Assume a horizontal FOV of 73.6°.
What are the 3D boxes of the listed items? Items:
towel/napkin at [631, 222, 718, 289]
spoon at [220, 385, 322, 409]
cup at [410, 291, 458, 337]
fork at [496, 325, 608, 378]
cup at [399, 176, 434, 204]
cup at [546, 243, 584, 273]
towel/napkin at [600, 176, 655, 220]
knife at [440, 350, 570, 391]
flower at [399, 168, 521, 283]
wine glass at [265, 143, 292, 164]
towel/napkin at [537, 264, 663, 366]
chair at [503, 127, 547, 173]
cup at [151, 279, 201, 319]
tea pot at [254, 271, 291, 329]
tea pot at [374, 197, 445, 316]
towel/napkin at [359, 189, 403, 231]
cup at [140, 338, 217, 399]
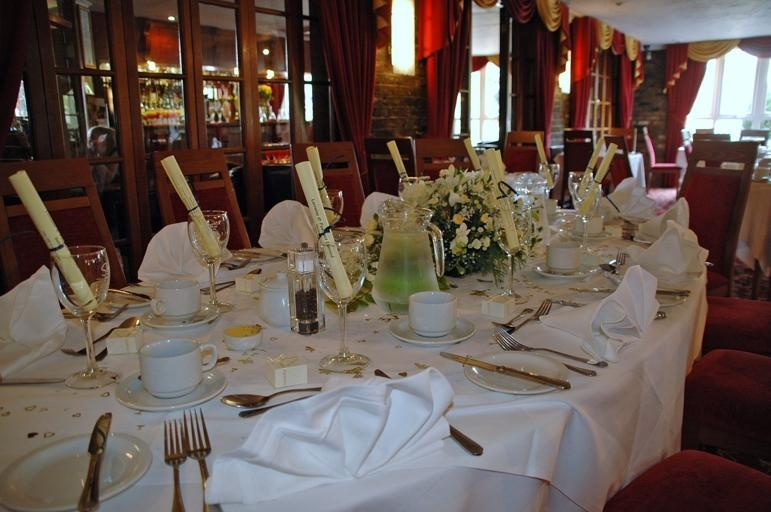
[{"bbox_3d":[0.921,-0.008,1.662,0.186,0.122,0.249,0,15,24],"label":"towel/napkin"},{"bbox_3d":[-0.230,0.282,1.030,0.154,0.022,0.028,-11,24,-25],"label":"spoon"},{"bbox_3d":[0.116,0.144,1.298,0.087,0.081,0.120,-1,4,6],"label":"cup"},{"bbox_3d":[0.349,0.215,1.214,0.302,0.048,0.082,20,15,26],"label":"fork"},{"bbox_3d":[0.100,-0.207,1.720,0.120,0.062,0.125,1,24,0],"label":"cup"},{"bbox_3d":[0.577,0.005,1.686,0.092,0.084,0.094,1,3,0],"label":"cup"},{"bbox_3d":[1.136,-0.246,2.440,0.207,0.090,0.221,-43,52,-8],"label":"towel/napkin"},{"bbox_3d":[0.253,0.247,1.103,0.179,0.015,0.026,13,29,31],"label":"knife"},{"bbox_3d":[0.223,-0.109,1.740,0.336,0.346,0.339,10,56,-6],"label":"flower"},{"bbox_3d":[-0.826,-0.785,4.025,0.131,0.156,0.277,6,17,25],"label":"wine glass"},{"bbox_3d":[0.544,0.124,1.249,0.191,0.094,0.235,-13,5,14],"label":"towel/napkin"},{"bbox_3d":[1.181,-0.925,4.538,0.277,0.297,1.369,2,16,14],"label":"chair"},{"bbox_3d":[-0.564,0.105,1.408,0.116,0.088,0.087,-10,18,-40],"label":"cup"},{"bbox_3d":[-0.293,0.121,1.369,0.101,0.137,0.133,3,2,26],"label":"tea pot"},{"bbox_3d":[0.038,-0.006,1.422,0.271,0.321,0.223,4,12,6],"label":"tea pot"},{"bbox_3d":[-0.056,-0.178,1.987,0.151,0.173,0.066,-6,-12,19],"label":"towel/napkin"},{"bbox_3d":[-0.431,0.230,1.091,0.103,0.092,0.140,-3,-4,45],"label":"cup"}]
